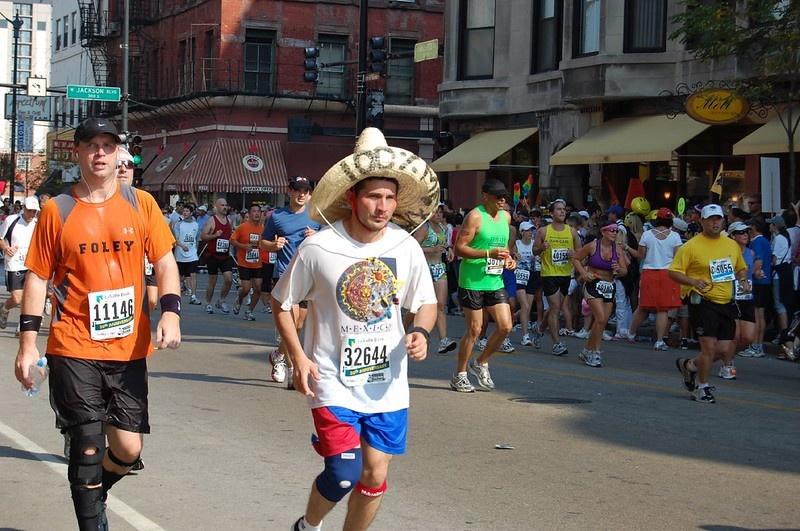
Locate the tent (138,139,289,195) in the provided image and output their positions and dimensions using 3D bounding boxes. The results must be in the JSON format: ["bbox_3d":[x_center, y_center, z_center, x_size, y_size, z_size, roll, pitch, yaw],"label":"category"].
[{"bbox_3d":[-8.431,-4.687,40.841,3.337,2.458,7.963,-12,14,-38],"label":"tent"}]

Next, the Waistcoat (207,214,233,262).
[{"bbox_3d":[-4.165,-0.661,20.167,0.745,1.150,0.637,0,1,-31],"label":"Waistcoat"}]

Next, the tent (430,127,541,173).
[{"bbox_3d":[2.594,-3.725,27.888,2.099,1.254,4.267,-7,9,-20],"label":"tent"}]

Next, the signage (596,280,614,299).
[{"bbox_3d":[3.070,0.338,13.162,0.323,0.327,0.215,3,3,-18],"label":"signage"}]

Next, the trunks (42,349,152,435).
[{"bbox_3d":[-1.988,0.780,5.916,0.811,0.794,0.460,4,-12,-35],"label":"trunks"}]

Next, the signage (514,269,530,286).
[{"bbox_3d":[2.131,0.186,15.467,0.372,0.401,0.042,2,-22,-3],"label":"signage"}]

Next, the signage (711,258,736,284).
[{"bbox_3d":[3.935,0.058,10.667,0.311,0.331,0.035,-1,-27,0],"label":"signage"}]

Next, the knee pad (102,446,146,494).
[{"bbox_3d":[-1.900,1.369,6.098,0.221,0.079,0.167,22,48,40],"label":"knee pad"}]

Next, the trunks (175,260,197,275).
[{"bbox_3d":[-4.532,0.003,18.404,0.396,0.376,0.228,2,13,-1],"label":"trunks"}]

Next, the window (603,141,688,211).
[{"bbox_3d":[7.136,-2.266,24.521,1.329,2.316,1.408,-1,28,12],"label":"window"}]

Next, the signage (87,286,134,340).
[{"bbox_3d":[-1.923,0.308,5.709,0.315,0.319,0.043,-5,0,-38],"label":"signage"}]

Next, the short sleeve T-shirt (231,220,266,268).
[{"bbox_3d":[-3.183,-0.478,18.146,0.903,0.985,0.497,-1,17,-45],"label":"short sleeve T-shirt"}]

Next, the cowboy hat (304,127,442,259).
[{"bbox_3d":[-0.134,-0.552,5.633,0.658,0.430,0.760,1,-38,-7],"label":"cowboy hat"}]

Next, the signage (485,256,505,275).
[{"bbox_3d":[1.161,-0.021,10.879,0.207,0.220,0.031,2,-3,-11],"label":"signage"}]

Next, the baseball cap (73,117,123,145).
[{"bbox_3d":[-2.019,-0.895,5.772,0.281,0.202,0.281,0,5,-21],"label":"baseball cap"}]

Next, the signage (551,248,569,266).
[{"bbox_3d":[2.686,-0.150,14.658,0.280,0.231,0.030,-2,0,-4],"label":"signage"}]

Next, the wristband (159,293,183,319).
[{"bbox_3d":[-1.554,0.274,5.880,0.143,0.157,0.144,-9,-7,-17],"label":"wristband"}]

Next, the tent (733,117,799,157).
[{"bbox_3d":[8.319,-2.926,19.747,0.725,0.747,1.400,-1,5,-29],"label":"tent"}]

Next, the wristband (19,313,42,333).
[{"bbox_3d":[-2.463,0.392,5.769,0.107,0.099,0.129,3,-34,-10],"label":"wristband"}]

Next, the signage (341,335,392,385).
[{"bbox_3d":[-0.235,0.594,5.455,0.291,0.294,0.023,-1,-2,-13],"label":"signage"}]
